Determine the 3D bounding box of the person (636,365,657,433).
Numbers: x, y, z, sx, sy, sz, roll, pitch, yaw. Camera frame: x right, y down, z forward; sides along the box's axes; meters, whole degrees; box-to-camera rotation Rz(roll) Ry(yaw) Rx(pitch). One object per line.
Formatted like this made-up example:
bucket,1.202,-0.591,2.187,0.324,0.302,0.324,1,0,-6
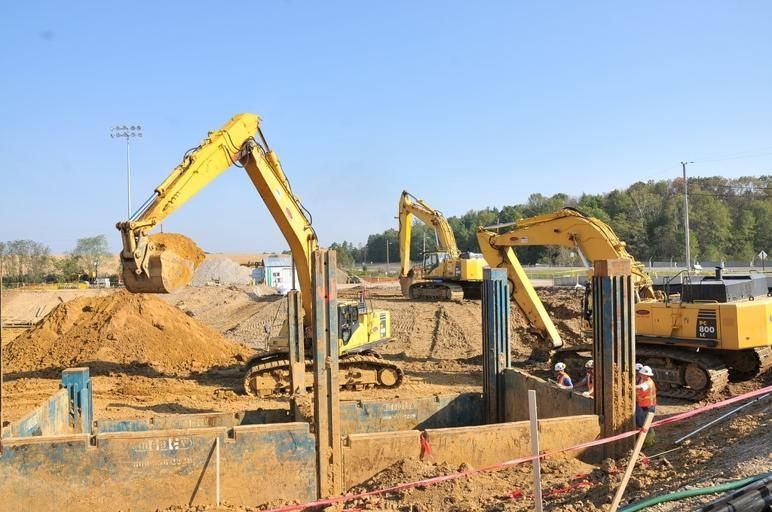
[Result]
person,6.067,3.254,18.885,0.446,1.502,1.520,-3,-1,17

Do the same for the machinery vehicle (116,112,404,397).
machinery vehicle,-3.362,0.121,22.491,7.629,7.704,3.102,-2,5,-40

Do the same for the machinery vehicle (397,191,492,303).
machinery vehicle,2.643,-0.382,41.095,4.921,4.914,2.594,0,1,41

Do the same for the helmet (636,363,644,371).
helmet,6.011,2.654,19.168,0.188,0.089,0.287,5,12,17
